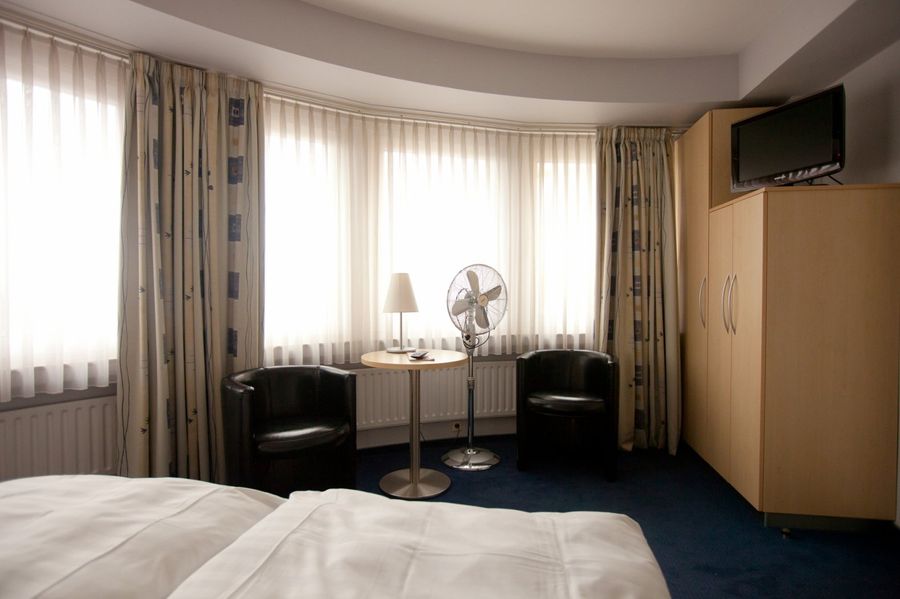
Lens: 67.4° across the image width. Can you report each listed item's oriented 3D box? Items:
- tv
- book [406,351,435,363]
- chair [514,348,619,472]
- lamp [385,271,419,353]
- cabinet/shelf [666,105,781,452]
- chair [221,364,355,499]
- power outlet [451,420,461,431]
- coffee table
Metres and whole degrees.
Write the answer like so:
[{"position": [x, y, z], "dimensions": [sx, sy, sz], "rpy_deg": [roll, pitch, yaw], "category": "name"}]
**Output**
[{"position": [2.617, -1.226, 5.174], "dimensions": [0.215, 0.730, 0.954], "rpy_deg": [-1, 0, -29], "category": "tv"}, {"position": [-0.229, 0.455, 5.360], "dimensions": [0.216, 0.052, 0.353], "rpy_deg": [-3, 3, -4], "category": "book"}, {"position": [0.995, 0.923, 6.000], "dimensions": [0.853, 1.096, 0.928], "rpy_deg": [0, -2, 13], "category": "chair"}, {"position": [-0.427, 0.109, 5.703], "dimensions": [0.260, 0.670, 0.566], "rpy_deg": [-3, 3, -5], "category": "lamp"}, {"position": [2.607, -0.173, 5.917], "dimensions": [0.580, 2.697, 0.568], "rpy_deg": [3, 14, 34], "category": "cabinet/shelf"}, {"position": [-1.264, 1.051, 5.223], "dimensions": [0.818, 0.966, 0.768], "rpy_deg": [-2, 4, -32], "category": "chair"}, {"position": [0.051, 1.174, 6.278], "dimensions": [0.082, 0.089, 0.042], "rpy_deg": [15, -5, -38], "category": "power outlet"}, {"position": [-0.293, 1.000, 5.440], "dimensions": [0.819, 1.063, 0.880], "rpy_deg": [1, 7, 11], "category": "coffee table"}]
